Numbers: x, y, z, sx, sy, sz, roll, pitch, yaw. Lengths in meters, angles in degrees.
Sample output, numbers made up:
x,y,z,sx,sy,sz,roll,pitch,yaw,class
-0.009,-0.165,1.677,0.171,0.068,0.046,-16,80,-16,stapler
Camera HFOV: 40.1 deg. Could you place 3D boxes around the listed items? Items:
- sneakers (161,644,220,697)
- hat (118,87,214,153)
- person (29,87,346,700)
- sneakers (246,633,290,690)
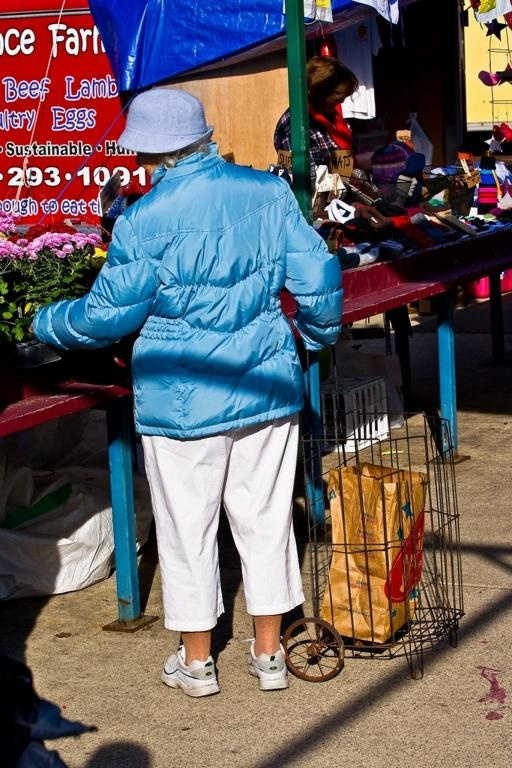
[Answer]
x,y,z,sx,sy,sz,roll,pitch,yaw,class
-0.230,0.910,2.268,0.104,0.130,0.275,0,-4,-38,sneakers
-0.246,-0.731,1.908,0.219,0.127,0.264,32,48,29,hat
-0.129,-0.046,2.055,0.846,1.554,0.372,-6,5,-28,person
0.046,0.892,2.261,0.076,0.084,0.190,-2,11,-4,sneakers
